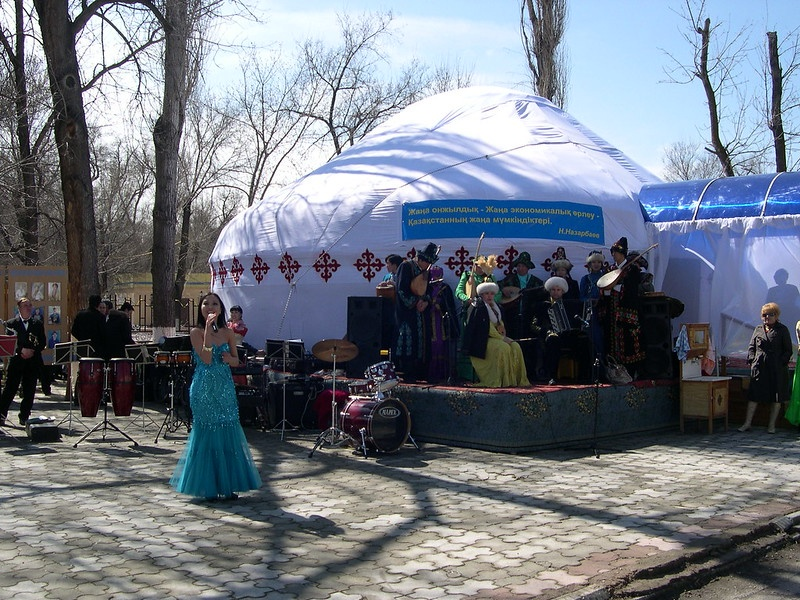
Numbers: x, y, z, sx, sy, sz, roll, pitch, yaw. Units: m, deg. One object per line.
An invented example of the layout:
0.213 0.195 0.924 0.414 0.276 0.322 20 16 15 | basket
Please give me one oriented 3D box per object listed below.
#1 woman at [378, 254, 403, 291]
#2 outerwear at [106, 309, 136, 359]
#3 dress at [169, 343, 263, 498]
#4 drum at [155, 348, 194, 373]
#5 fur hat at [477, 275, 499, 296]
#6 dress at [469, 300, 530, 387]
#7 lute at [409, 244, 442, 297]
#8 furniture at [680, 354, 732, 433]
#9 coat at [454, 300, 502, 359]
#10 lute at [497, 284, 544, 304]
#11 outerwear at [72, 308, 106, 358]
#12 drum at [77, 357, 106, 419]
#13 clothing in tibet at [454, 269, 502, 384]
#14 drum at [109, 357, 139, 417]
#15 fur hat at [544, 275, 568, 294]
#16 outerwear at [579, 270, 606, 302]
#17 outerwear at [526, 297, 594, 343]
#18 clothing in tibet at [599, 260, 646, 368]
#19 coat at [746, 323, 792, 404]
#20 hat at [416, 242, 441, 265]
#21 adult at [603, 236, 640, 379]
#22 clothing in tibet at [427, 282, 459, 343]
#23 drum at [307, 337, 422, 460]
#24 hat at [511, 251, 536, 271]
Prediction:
-0.157 -0.460 13.028 0.346 0.634 0.691 8 6 7 | woman
-5.092 0.642 13.617 0.647 0.907 0.315 -10 -15 21 | outerwear
-1.902 1.232 7.877 0.786 1.518 0.453 0 3 -17 | dress
-3.697 0.980 12.470 0.715 0.283 0.702 1 -4 0 | drum
1.252 -0.195 11.290 0.273 0.146 0.270 -14 2 -44 | fur hat
1.508 0.574 11.325 0.761 1.495 0.750 14 16 38 | dress
0.383 -0.486 11.875 0.354 0.746 0.581 14 2 1 | lute
4.690 1.543 12.062 0.631 0.955 0.518 -2 -7 6 | furniture
1.310 0.415 11.391 0.805 0.802 0.452 7 -5 -36 | coat
2.006 -0.095 12.688 0.725 0.303 0.104 0 -46 13 | lute
-5.506 0.581 13.426 0.546 0.820 0.440 0 3 -19 | outerwear
-4.414 1.264 10.857 0.340 0.866 0.338 0 3 0 | drum
1.326 0.107 12.040 0.549 1.667 0.558 -1 -20 -9 | clothing in tibet
-4.104 1.290 11.231 0.325 0.889 0.577 -1 3 -25 | drum
2.479 -0.240 12.078 0.334 0.237 0.453 1 2 9 | fur hat
3.194 -0.213 12.528 0.321 0.596 0.449 8 -13 -21 | outerwear
2.513 0.386 12.108 1.310 0.721 1.739 -10 0 12 | outerwear
3.501 0.250 11.854 0.238 1.708 0.666 -2 7 -45 | clothing in tibet
5.653 0.959 11.589 0.572 1.237 0.310 2 3 25 | coat
0.450 -0.733 11.947 0.286 0.218 0.410 14 1 -4 | hat
3.489 0.166 11.998 0.590 2.278 0.686 -9 15 -21 | adult
0.640 0.156 12.185 0.726 0.958 0.375 1 11 32 | clothing in tibet
-0.536 1.387 10.351 1.435 1.541 1.530 2 -15 -5 | drum
2.181 -0.682 13.158 0.330 0.147 0.327 4 -1 -33 | hat
